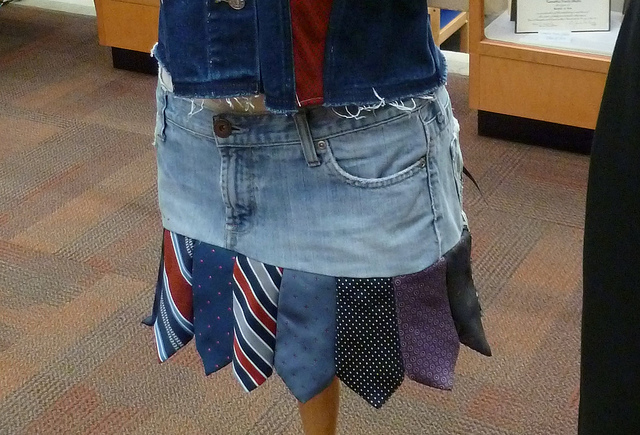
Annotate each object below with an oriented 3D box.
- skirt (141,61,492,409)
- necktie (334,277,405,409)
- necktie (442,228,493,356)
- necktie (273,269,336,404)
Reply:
[{"bbox_3d":[-0.043,-0.044,1.284,0.747,0.633,0.521,6,28,17],"label":"skirt"},{"bbox_3d":[0.100,0.253,1.151,0.131,0.293,0.005,-2,19,11],"label":"necktie"},{"bbox_3d":[0.303,0.156,1.217,0.070,0.244,0.167,-3,7,6],"label":"necktie"},{"bbox_3d":[-0.025,0.242,1.163,0.124,0.331,0.041,4,29,2],"label":"necktie"}]
